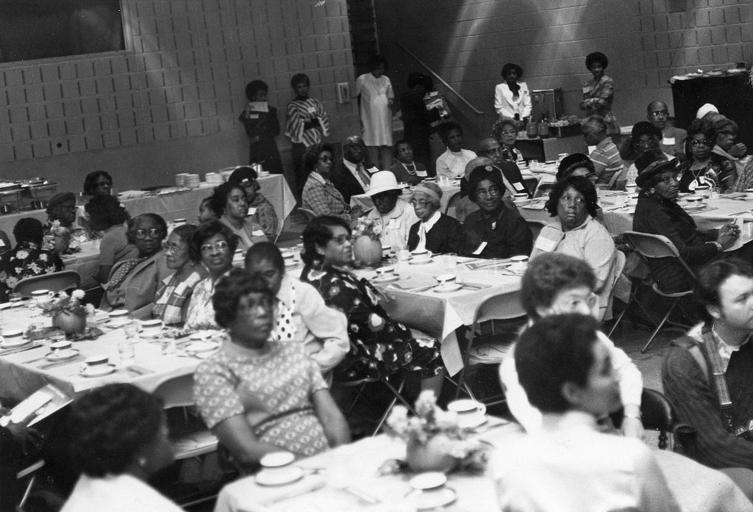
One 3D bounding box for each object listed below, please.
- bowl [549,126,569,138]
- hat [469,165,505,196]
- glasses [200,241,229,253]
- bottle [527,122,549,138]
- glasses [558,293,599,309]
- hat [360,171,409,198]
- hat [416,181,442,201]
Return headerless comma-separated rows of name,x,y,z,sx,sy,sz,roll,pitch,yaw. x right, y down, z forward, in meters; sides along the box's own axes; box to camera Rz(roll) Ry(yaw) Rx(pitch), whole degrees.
bowl,3.446,-2.334,11.833,0.244,0.144,0.238,-1,4,0
hat,1.049,-0.741,6.012,0.266,0.255,0.340,-6,-7,-3
glasses,-1.162,-0.064,4.460,0.196,0.105,0.081,-12,15,-10
bottle,3.104,-2.456,11.980,0.392,0.262,0.395,0,-5,0
glasses,0.878,0.199,2.747,0.147,0.067,0.149,-1,-1,-18
hat,0.094,-0.761,6.706,0.414,0.185,0.452,-4,4,14
hat,0.533,-0.659,6.319,0.222,0.125,0.221,13,2,22
